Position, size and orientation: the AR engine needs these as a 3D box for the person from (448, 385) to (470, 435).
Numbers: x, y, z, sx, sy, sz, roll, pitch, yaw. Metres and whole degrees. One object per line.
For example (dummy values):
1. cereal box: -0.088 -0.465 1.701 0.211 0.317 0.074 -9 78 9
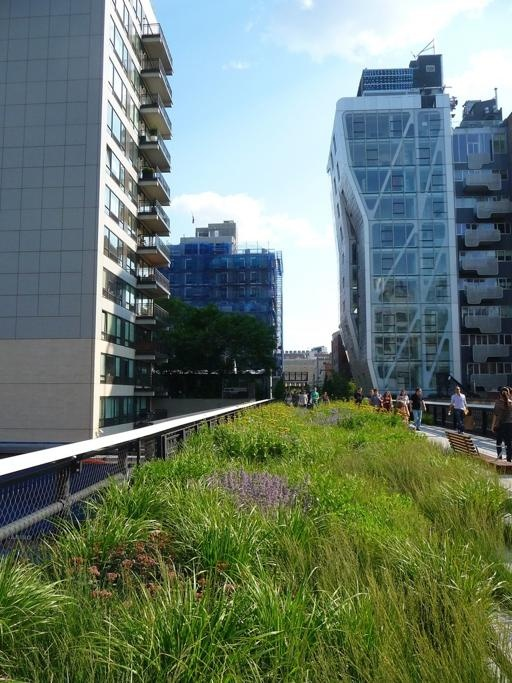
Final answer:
1. person: 6.432 2.196 19.696 0.509 1.543 3.297 0 -5 18
